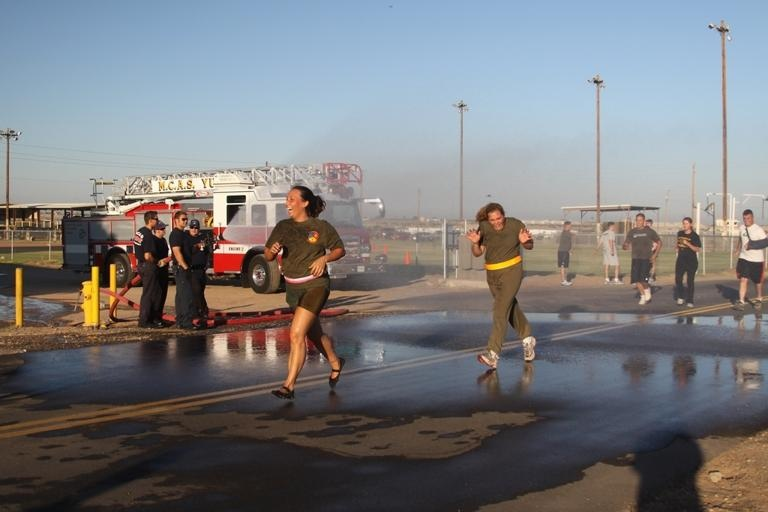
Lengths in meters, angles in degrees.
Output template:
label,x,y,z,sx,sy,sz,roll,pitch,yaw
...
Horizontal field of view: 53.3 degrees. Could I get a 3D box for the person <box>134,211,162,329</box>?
label,x,y,z,sx,sy,sz,roll,pitch,yaw
person,-4.292,0.229,13.846,0.412,2.100,0.526,-2,7,-16

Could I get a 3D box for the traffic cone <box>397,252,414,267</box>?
label,x,y,z,sx,sy,sz,roll,pitch,yaw
traffic cone,1.248,0.203,41.992,0.725,0.675,0.733,6,12,42

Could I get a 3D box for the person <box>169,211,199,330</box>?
label,x,y,z,sx,sy,sz,roll,pitch,yaw
person,-3.668,0.261,13.823,0.388,2.062,0.484,-2,7,-15

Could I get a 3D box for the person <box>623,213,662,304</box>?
label,x,y,z,sx,sy,sz,roll,pitch,yaw
person,6.140,0.038,18.471,1.034,2.223,0.948,2,1,-35

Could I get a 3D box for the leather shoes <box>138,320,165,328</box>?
label,x,y,z,sx,sy,sz,roll,pitch,yaw
leather shoes,-4.229,1.224,13.932,0.491,0.174,0.166,0,-1,-3

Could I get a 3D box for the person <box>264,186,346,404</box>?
label,x,y,z,sx,sy,sz,roll,pitch,yaw
person,-0.890,0.382,9.358,1.108,2.406,1.077,-1,0,11
